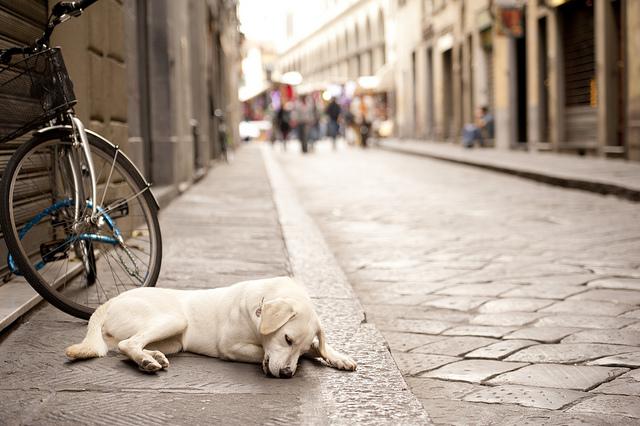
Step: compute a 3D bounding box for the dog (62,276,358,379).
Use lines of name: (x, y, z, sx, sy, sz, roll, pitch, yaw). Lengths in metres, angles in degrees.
dog: (-0.576, 0.576, 2.897, 1.107, 0.378, 0.662, 4, -10, 5)

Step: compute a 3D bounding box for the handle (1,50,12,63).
handle: (-1.752, -0.876, 3.193, 0.049, 0.062, 0.037, -4, 14, -14)

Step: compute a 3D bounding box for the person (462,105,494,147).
person: (6.567, -3.538, 23.489, 1.303, 1.657, 0.619, 6, 15, 26)
